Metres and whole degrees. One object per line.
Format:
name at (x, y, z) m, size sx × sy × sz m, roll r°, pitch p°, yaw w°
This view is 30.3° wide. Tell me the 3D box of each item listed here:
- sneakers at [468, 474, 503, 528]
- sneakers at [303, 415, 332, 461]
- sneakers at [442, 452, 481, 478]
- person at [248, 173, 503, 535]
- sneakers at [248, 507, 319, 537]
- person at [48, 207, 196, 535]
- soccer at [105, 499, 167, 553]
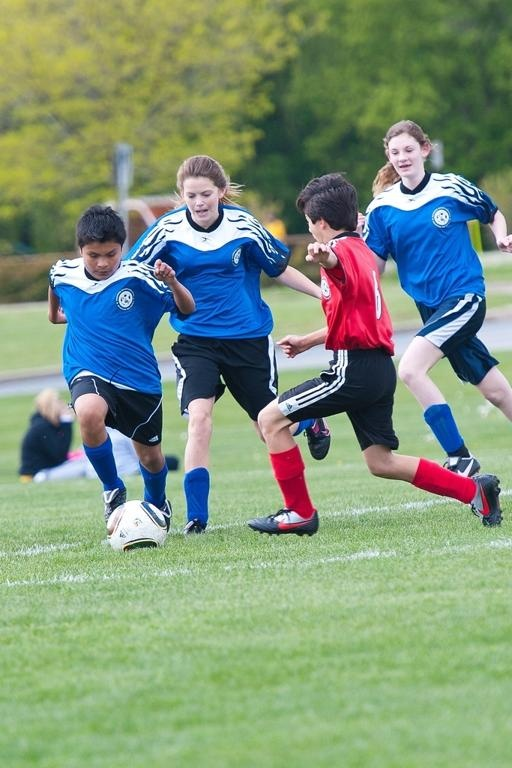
sneakers at (1.004, 0.504, 4.106) m, size 0.140 × 0.232 × 0.102 m, roll -18°, pitch 22°, yaw -23°
sneakers at (0.356, 0.340, 5.656) m, size 0.123 × 0.305 × 0.146 m, roll 4°, pitch 30°, yaw 36°
sneakers at (0.997, 0.402, 4.658) m, size 0.129 × 0.070 × 0.246 m, roll -9°, pitch 14°, yaw -43°
person at (0.456, -0.117, 4.136) m, size 0.874 × 1.608 × 0.785 m, roll -10°, pitch 9°, yaw -26°
sneakers at (0.135, 0.635, 4.342) m, size 0.318 × 0.113 × 0.116 m, roll 3°, pitch -12°, yaw 9°
person at (-0.579, -0.048, 4.452) m, size 0.663 × 1.593 × 0.719 m, roll -8°, pitch 8°, yaw -10°
soccer at (-0.499, 0.622, 4.223) m, size 0.249 × 0.204 × 0.229 m, roll -26°, pitch -2°, yaw 1°
